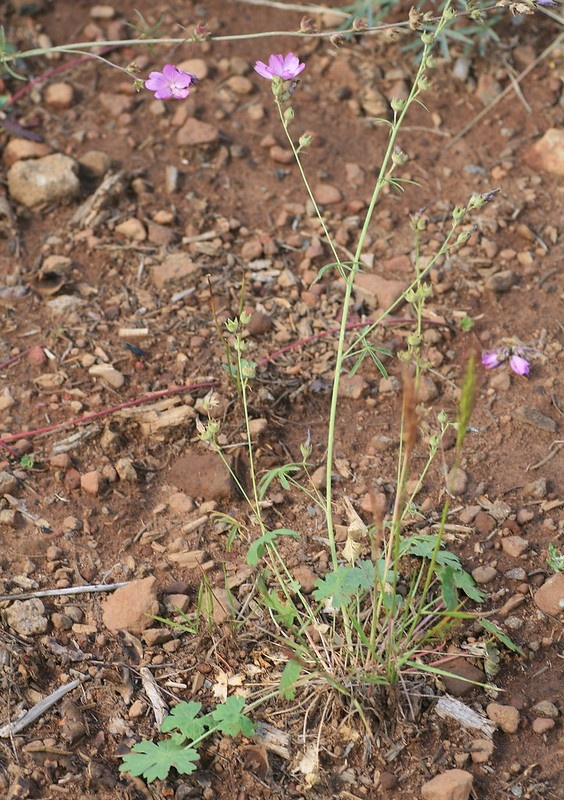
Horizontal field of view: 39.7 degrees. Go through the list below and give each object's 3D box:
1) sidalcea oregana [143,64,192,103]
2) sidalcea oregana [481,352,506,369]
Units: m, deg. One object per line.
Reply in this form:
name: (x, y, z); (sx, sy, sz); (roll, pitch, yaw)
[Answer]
sidalcea oregana: (-0.325, -0.913, 2.218); (0.127, 0.109, 0.172); (-11, 45, -14)
sidalcea oregana: (0.684, -0.135, 2.526); (0.060, 0.066, 0.058); (4, 44, 2)
